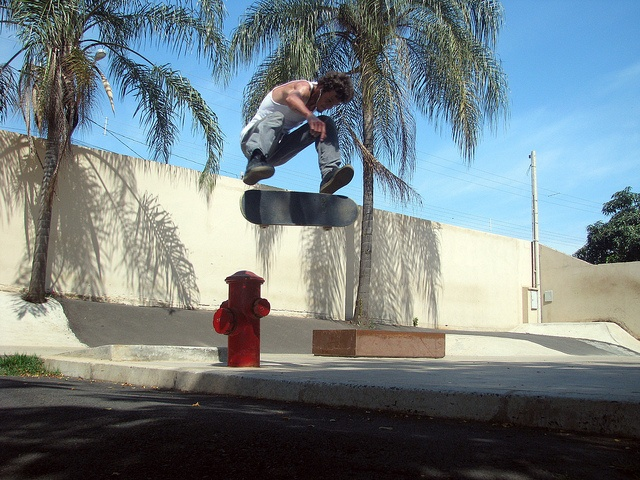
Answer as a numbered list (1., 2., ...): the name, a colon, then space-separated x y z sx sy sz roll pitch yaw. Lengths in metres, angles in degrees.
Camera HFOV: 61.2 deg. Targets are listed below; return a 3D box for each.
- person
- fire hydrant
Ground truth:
1. person: -0.212 -1.051 5.403 0.993 1.308 0.900 1 -19 10
2. fire hydrant: -0.851 0.864 5.925 0.575 1.041 0.328 3 -5 -11
